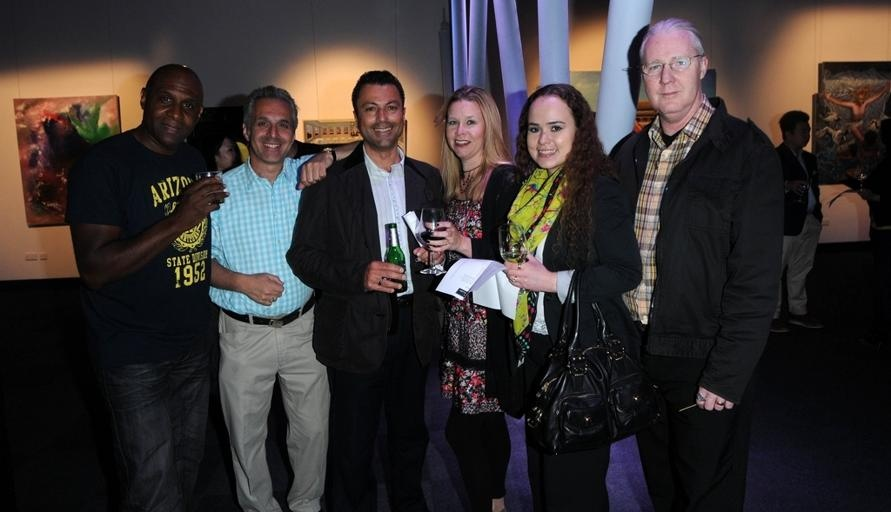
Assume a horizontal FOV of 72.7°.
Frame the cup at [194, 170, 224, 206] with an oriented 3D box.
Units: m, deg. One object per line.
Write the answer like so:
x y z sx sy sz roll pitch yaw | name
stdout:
-1.941 -0.560 5.031 0.212 0.296 0.413 -6 15 -21 | cup

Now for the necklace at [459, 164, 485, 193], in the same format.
0.227 -0.693 5.498 0.198 0.246 0.082 -3 -9 33 | necklace

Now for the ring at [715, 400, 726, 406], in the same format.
2.155 1.162 4.765 0.031 0.037 0.069 -37 31 -32 | ring

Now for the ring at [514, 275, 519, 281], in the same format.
0.561 0.175 4.846 0.056 0.037 0.006 3 15 14 | ring

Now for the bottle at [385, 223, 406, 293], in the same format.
-0.423 0.025 5.197 0.180 0.642 0.404 -2 14 -5 | bottle

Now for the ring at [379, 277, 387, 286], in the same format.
-0.528 0.207 5.058 0.045 0.057 0.023 3 -9 28 | ring

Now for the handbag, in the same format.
1.146 0.810 4.790 1.336 1.435 0.571 -13 7 -8 | handbag

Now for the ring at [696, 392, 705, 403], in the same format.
2.004 1.118 4.780 0.023 0.069 0.074 16 -23 -38 | ring

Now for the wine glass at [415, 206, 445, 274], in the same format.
-0.119 -0.145 5.121 0.181 0.525 0.137 7 16 29 | wine glass

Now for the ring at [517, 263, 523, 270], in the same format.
0.589 0.080 4.835 0.040 0.052 0.020 6 -3 6 | ring
